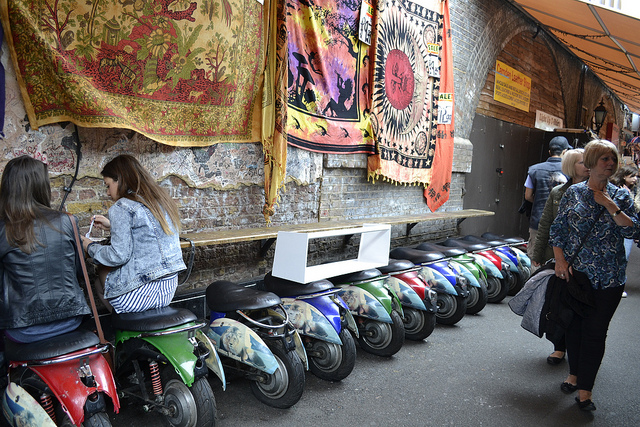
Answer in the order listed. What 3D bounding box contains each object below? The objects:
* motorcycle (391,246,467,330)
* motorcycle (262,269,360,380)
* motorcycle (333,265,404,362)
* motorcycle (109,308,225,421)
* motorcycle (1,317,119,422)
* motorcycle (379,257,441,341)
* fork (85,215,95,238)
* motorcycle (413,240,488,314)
[{"bbox_3d":[1.346,0.930,5.903,1.256,0.859,0.701,12,14,36],"label":"motorcycle"},{"bbox_3d":[0.099,1.117,4.565,1.264,0.882,0.699,7,11,37],"label":"motorcycle"},{"bbox_3d":[0.567,1.263,5.505,0.621,1.063,1.899,-2,-11,-14],"label":"motorcycle"},{"bbox_3d":[-1.257,1.212,3.683,0.621,0.874,1.433,-2,7,-44],"label":"motorcycle"},{"bbox_3d":[-1.979,1.206,3.178,0.820,0.760,0.441,4,10,11],"label":"motorcycle"},{"bbox_3d":[0.966,1.030,5.531,1.119,0.766,0.622,11,16,40],"label":"motorcycle"},{"bbox_3d":[-2.260,0.119,4.119,0.047,0.210,0.079,15,6,-40],"label":"fork"},{"bbox_3d":[1.787,0.866,6.413,1.270,0.902,0.719,-4,4,0],"label":"motorcycle"}]
